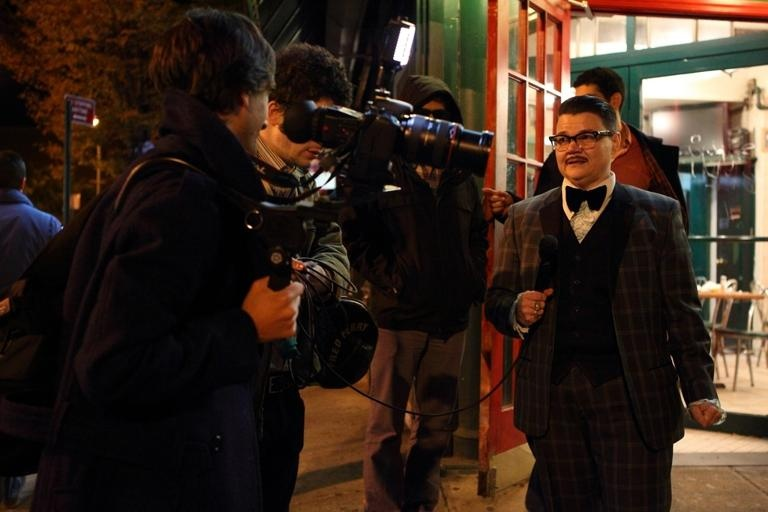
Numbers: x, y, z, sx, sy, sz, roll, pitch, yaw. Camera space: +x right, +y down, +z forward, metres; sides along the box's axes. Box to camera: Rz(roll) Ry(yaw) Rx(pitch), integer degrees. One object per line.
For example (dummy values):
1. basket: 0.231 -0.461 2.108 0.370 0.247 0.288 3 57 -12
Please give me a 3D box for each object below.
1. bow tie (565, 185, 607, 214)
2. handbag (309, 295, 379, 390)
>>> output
1. bow tie: 0.965 -0.268 3.065 0.133 0.102 0.015 3 -7 25
2. handbag: -0.171 0.357 2.716 0.282 0.352 0.086 7 -6 -40
